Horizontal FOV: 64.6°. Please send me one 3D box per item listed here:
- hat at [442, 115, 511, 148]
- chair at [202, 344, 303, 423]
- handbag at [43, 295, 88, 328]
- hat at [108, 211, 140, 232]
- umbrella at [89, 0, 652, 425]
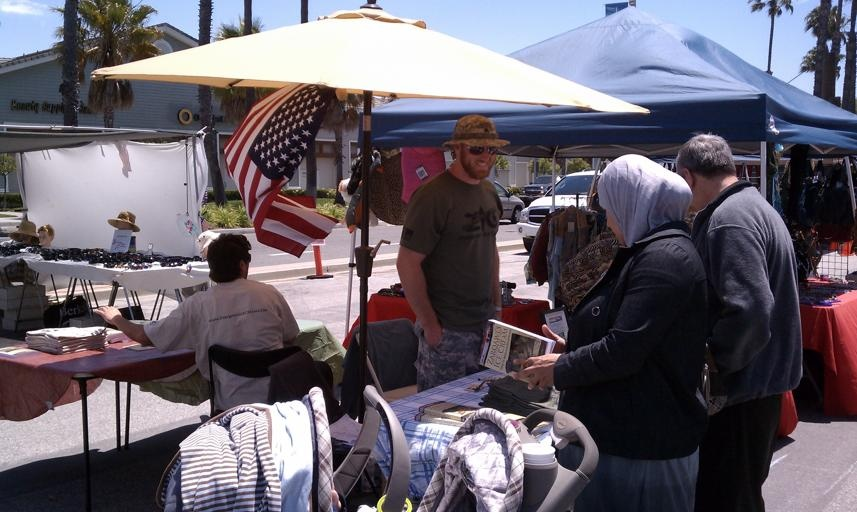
[{"bbox_3d":[0.383,-0.992,5.715,0.343,0.169,0.343,4,8,36],"label":"hat"},{"bbox_3d":[-1.518,1.113,5.999,0.640,0.953,0.681,1,3,-14],"label":"chair"},{"bbox_3d":[-5.426,0.843,10.168,0.579,0.140,0.367,-16,5,-24],"label":"handbag"},{"bbox_3d":[-4.799,-0.525,10.699,0.424,0.218,0.399,17,-11,-38],"label":"hat"},{"bbox_3d":[-0.694,-0.636,5.216,2.389,1.645,2.448,2,5,-13],"label":"umbrella"}]
